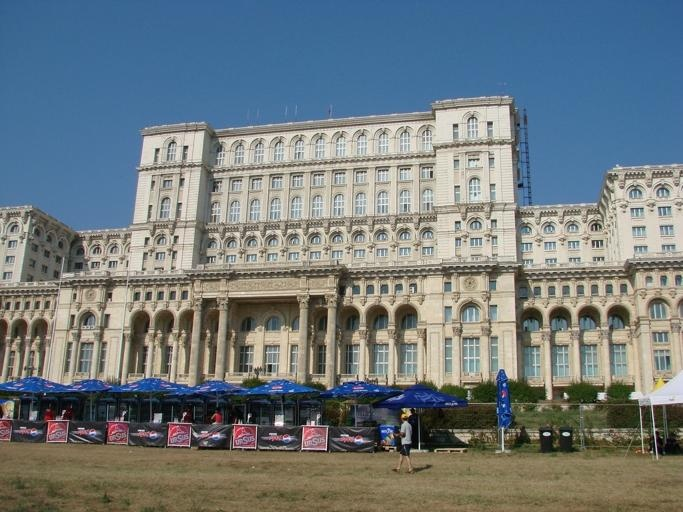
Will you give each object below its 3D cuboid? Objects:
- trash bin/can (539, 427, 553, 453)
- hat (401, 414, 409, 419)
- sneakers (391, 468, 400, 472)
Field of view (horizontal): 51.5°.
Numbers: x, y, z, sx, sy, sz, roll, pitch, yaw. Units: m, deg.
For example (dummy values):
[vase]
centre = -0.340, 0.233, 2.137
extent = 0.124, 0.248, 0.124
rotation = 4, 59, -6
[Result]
[trash bin/can]
centre = 13.004, 11.706, 45.107
extent = 0.771, 1.519, 0.452
rotation = -1, -16, 4
[hat]
centre = 3.468, 8.753, 38.544
extent = 0.283, 0.316, 0.327
rotation = 6, -27, -15
[sneakers]
centre = 2.833, 11.109, 36.754
extent = 0.149, 0.166, 0.433
rotation = 6, -4, -38
